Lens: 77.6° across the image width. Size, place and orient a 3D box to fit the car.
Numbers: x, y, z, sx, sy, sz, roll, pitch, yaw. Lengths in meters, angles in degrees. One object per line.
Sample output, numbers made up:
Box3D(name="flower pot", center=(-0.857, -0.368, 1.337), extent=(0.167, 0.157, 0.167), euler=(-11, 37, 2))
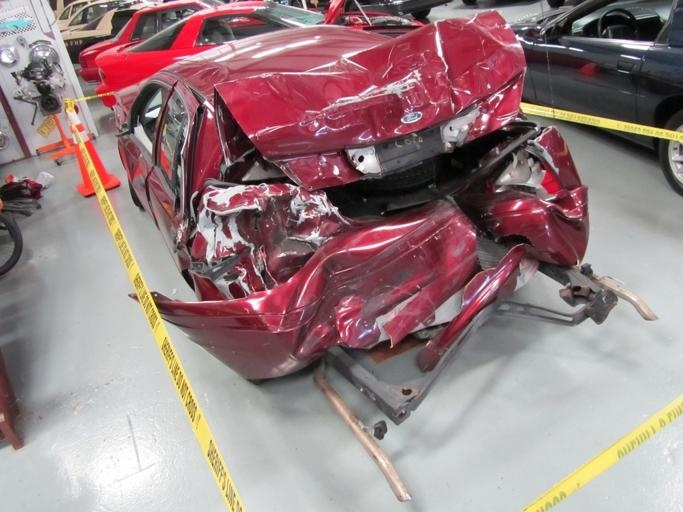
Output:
Box3D(name="car", center=(0.067, -0.304, 2.560), extent=(2.972, 1.737, 1.936), euler=(9, 41, 21))
